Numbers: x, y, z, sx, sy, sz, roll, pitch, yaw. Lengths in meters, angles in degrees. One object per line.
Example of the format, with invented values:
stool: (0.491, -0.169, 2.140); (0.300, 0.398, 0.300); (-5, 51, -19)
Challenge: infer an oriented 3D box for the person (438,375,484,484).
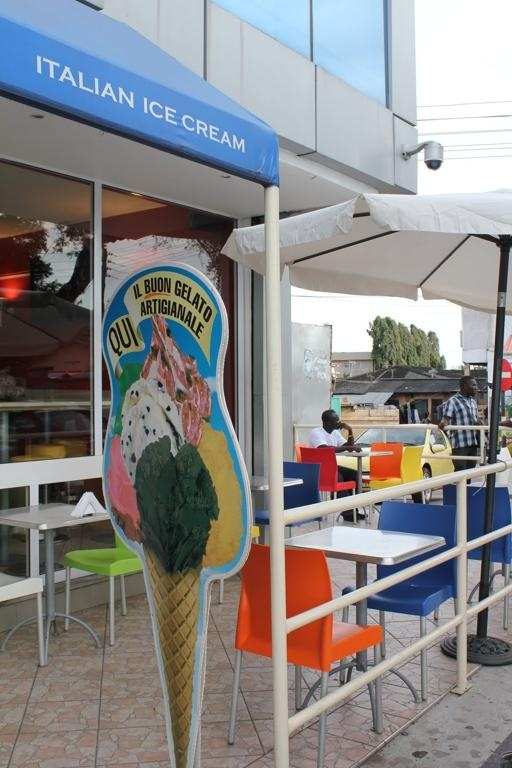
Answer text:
person: (2.958, 0.793, 9.191); (0.579, 1.799, 0.538); (1, -3, -7)

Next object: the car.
car: (2.211, 1.129, 10.104); (1.256, 1.019, 2.097); (-5, -9, 31)

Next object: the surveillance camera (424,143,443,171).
surveillance camera: (1.779, -2.281, 6.631); (0.191, 0.240, 0.330); (-2, 1, 16)
